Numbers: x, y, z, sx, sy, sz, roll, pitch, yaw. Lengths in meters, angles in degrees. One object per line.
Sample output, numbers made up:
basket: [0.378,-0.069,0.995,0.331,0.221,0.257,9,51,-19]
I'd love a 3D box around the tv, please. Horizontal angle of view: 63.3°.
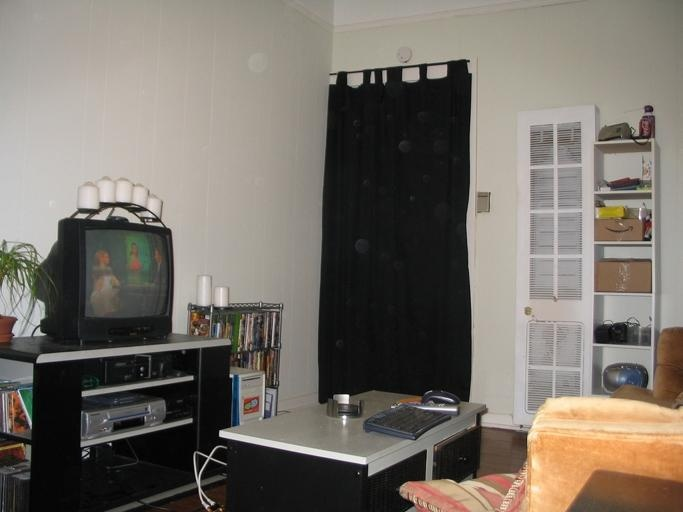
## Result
tv: [-1.145,0.102,3.007,0.558,0.773,0.720,-3,-5,28]

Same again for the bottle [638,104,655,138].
bottle: [2.263,-0.984,4.104,0.107,0.273,0.337,-1,0,30]

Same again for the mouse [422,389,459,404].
mouse: [0.477,0.664,2.654,0.133,0.041,0.079,3,3,16]

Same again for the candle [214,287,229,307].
candle: [-0.808,0.269,3.724,0.111,0.131,0.113,0,0,-18]

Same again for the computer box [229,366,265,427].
computer box: [-0.598,0.890,3.454,0.185,0.335,0.243,1,-3,-31]

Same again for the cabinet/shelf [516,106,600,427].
cabinet/shelf: [1.696,0.067,4.417,0.541,2.372,0.262,-2,9,10]

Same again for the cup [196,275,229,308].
cup: [-0.876,0.232,3.700,0.271,0.246,0.141,0,0,-3]

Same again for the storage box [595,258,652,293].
storage box: [2.051,0.140,4.016,0.267,0.180,0.274,0,0,23]

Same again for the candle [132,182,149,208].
candle: [-1.135,-0.345,3.122,0.105,0.123,0.106,6,4,44]

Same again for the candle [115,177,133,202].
candle: [-1.189,-0.355,2.968,0.111,0.132,0.111,0,-1,-33]

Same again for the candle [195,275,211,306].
candle: [-0.914,0.226,3.688,0.084,0.193,0.049,-1,0,-32]

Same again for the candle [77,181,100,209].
candle: [-1.357,-0.318,2.949,0.121,0.131,0.081,-1,0,-8]
